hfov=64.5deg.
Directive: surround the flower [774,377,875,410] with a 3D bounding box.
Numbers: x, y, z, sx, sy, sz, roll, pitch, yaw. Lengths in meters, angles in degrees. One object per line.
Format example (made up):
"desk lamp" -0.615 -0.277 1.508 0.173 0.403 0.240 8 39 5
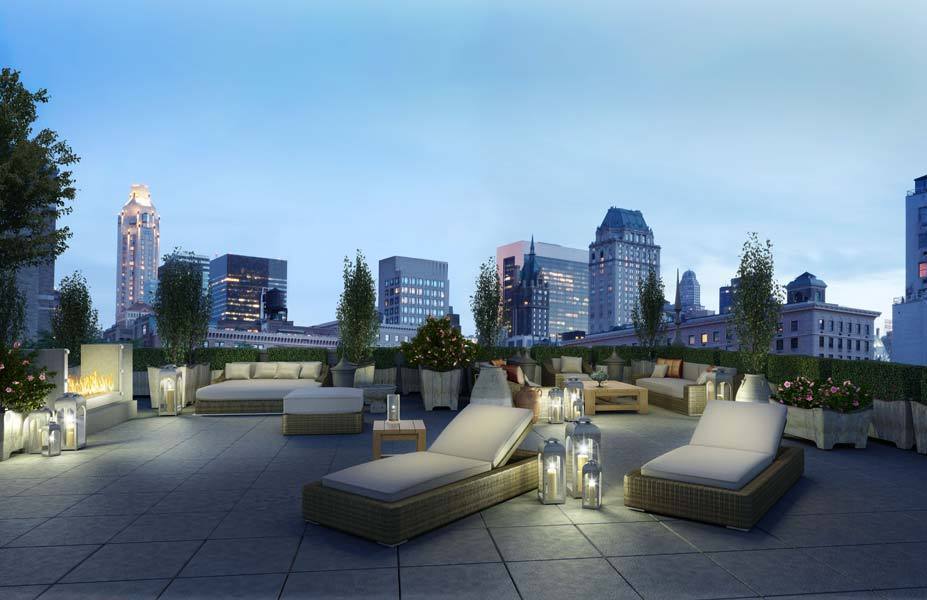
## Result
"flower" 9.934 2.605 20.319 2.301 0.877 0.948 0 -2 3
